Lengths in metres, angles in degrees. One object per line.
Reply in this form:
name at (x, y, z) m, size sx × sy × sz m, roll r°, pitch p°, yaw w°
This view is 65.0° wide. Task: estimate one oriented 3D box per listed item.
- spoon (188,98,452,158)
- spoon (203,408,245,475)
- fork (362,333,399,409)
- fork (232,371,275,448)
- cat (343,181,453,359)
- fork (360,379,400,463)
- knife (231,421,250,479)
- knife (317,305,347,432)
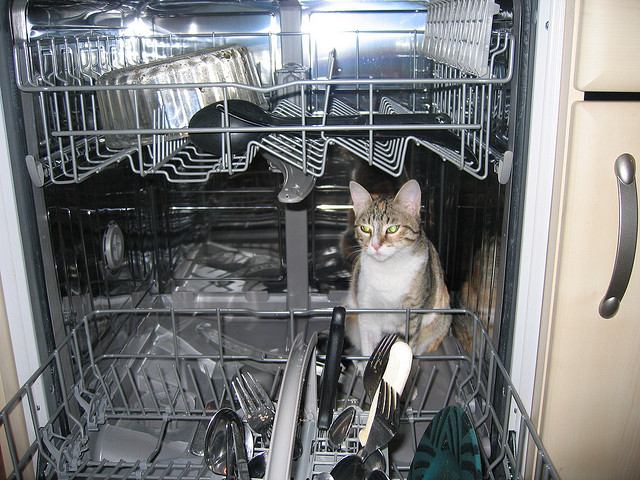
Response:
spoon at (0.069, -0.213, 0.928) m, size 0.605 × 0.092 × 0.176 m, roll -2°, pitch 20°, yaw -1°
spoon at (-0.170, 0.345, 0.884) m, size 0.024 × 0.109 × 0.075 m, roll 0°, pitch 6°, yaw -45°
fork at (0.121, 0.262, 0.994) m, size 0.028 × 0.172 × 0.023 m, roll 11°, pitch -27°, yaw 21°
fork at (-0.140, 0.333, 1.036) m, size 0.048 × 0.024 × 0.176 m, roll -6°, pitch 46°, yaw -32°
cat at (0.231, 0.067, 1.494) m, size 0.327 × 0.555 × 0.445 m, roll 6°, pitch 21°, yaw 19°
fork at (0.110, 0.322, 0.893) m, size 0.073 × 0.139 × 0.070 m, roll 1°, pitch -2°, yaw -1°
knife at (-0.132, 0.347, 0.826) m, size 0.020 × 0.077 × 0.055 m, roll 2°, pitch -3°, yaw -24°
knife at (0.020, 0.222, 0.860) m, size 0.039 × 0.226 × 0.035 m, roll 9°, pitch -24°, yaw 11°
